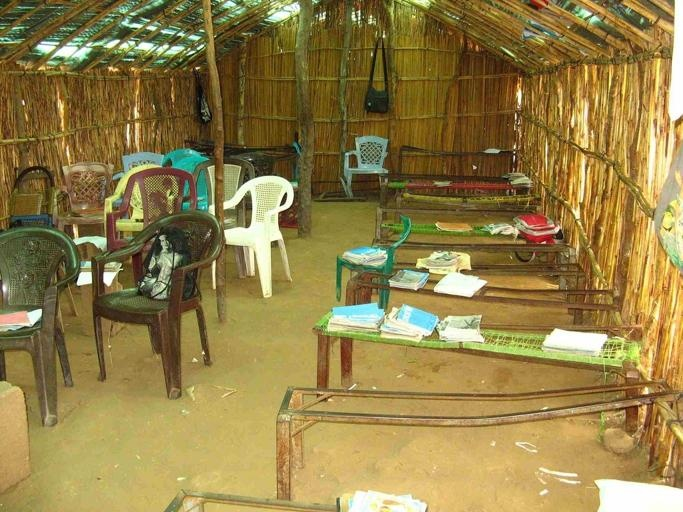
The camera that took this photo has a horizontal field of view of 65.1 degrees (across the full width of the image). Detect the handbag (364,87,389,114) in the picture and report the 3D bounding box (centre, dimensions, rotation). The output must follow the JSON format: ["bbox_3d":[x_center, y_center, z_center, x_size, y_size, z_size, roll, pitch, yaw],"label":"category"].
[{"bbox_3d":[0.651,-2.868,9.870,0.580,0.665,0.285,0,9,-3],"label":"handbag"}]

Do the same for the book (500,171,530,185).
[{"bbox_3d":[2.399,-1.056,7.336,0.362,0.095,0.328,1,7,10],"label":"book"}]

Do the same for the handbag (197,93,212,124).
[{"bbox_3d":[-2.689,-2.866,10.469,0.253,0.520,0.285,-6,16,-11],"label":"handbag"}]

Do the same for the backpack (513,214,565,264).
[{"bbox_3d":[1.919,-0.215,5.114,0.572,0.310,0.322,-3,7,-41],"label":"backpack"}]

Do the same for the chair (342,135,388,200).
[{"bbox_3d":[0.472,-1.631,9.811,0.892,0.998,0.916,10,9,29],"label":"chair"}]
